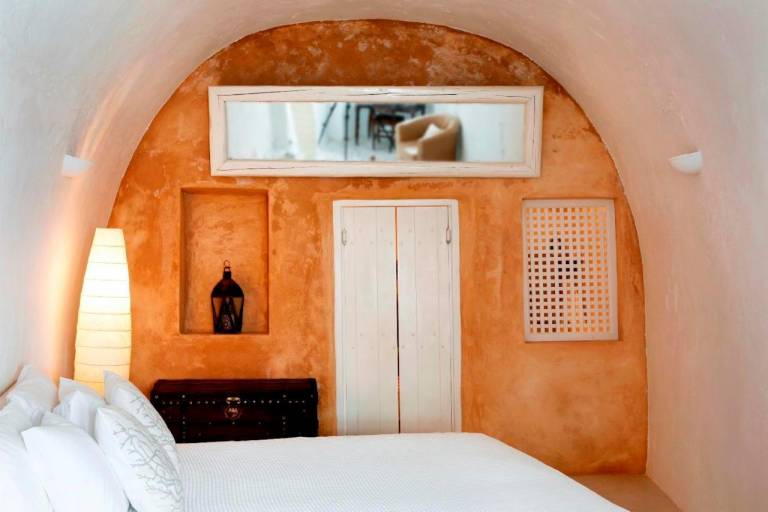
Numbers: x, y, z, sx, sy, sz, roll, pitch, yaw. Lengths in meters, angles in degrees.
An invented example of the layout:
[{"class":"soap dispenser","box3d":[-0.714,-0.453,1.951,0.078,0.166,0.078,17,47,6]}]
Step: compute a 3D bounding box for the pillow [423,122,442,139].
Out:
[{"class":"pillow","box3d":[0.403,-1.058,5.817,0.147,0.127,0.043,11,8,-14]}]
